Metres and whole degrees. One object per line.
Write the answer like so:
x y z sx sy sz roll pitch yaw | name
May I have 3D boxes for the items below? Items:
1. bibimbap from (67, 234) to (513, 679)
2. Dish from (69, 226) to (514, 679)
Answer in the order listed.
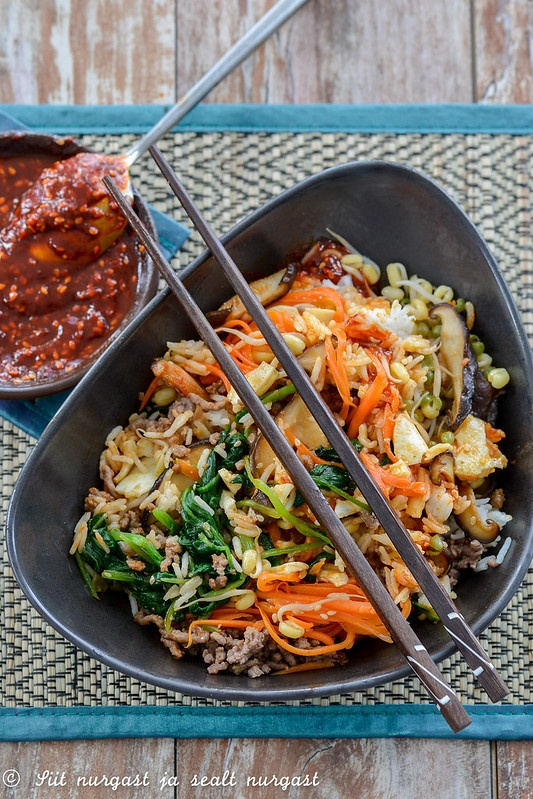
0.101 0.163 2.542 1.227 0.456 1.335 30 91 8 | bibimbap
0.075 0.173 2.556 1.220 0.464 1.337 29 91 8 | Dish
